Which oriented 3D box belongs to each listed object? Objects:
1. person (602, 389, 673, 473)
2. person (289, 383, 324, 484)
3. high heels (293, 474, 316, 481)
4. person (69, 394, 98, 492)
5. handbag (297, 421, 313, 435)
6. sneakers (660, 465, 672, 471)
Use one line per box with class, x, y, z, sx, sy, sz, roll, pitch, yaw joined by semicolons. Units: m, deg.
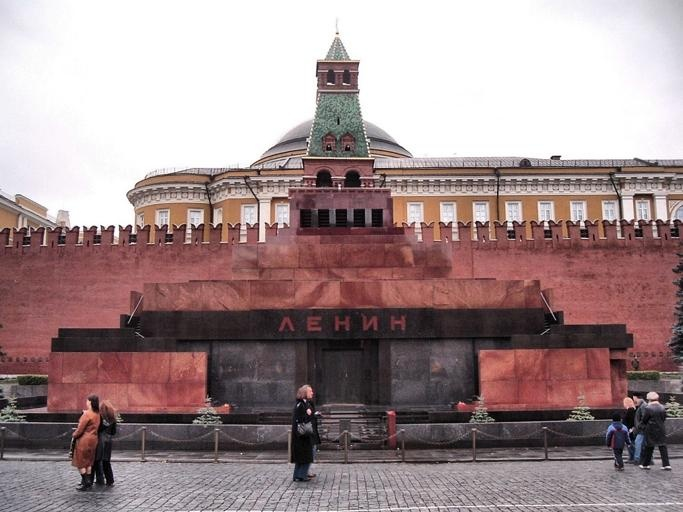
person;7.715;4.488;21.395;1.251;1.953;0.599;-6;-10;28
person;-0.915;4.356;20.505;0.658;2.324;0.738;-1;-9;-3
high heels;-0.904;5.458;20.591;0.489;0.204;0.164;0;-2;-8
person;-6.129;4.439;19.895;0.635;2.226;0.460;1;-9;-16
handbag;-0.896;4.165;20.188;0.323;0.264;0.121;-1;-13;-3
sneakers;8.261;5.355;21.110;0.104;0.123;0.283;0;1;-2
